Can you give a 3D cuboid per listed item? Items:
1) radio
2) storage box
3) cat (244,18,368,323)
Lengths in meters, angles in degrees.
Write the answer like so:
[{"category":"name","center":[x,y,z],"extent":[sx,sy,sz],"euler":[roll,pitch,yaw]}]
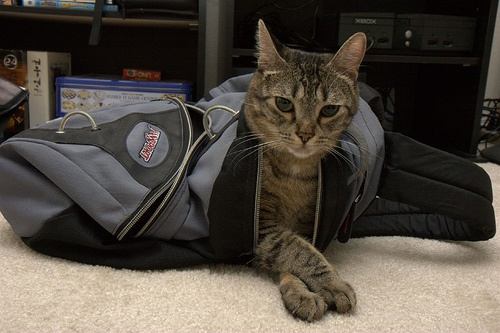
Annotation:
[{"category":"radio","center":[0.743,-0.621,1.947],"extent":[0.787,0.157,0.313],"euler":[2,19,3]},{"category":"storage box","center":[-0.632,-0.354,2.192],"extent":[0.525,0.304,0.358],"euler":[3,14,-1]},{"category":"cat","center":[0.137,-0.016,1.160],"extent":[0.338,0.717,0.424],"euler":[4,18,3]}]
